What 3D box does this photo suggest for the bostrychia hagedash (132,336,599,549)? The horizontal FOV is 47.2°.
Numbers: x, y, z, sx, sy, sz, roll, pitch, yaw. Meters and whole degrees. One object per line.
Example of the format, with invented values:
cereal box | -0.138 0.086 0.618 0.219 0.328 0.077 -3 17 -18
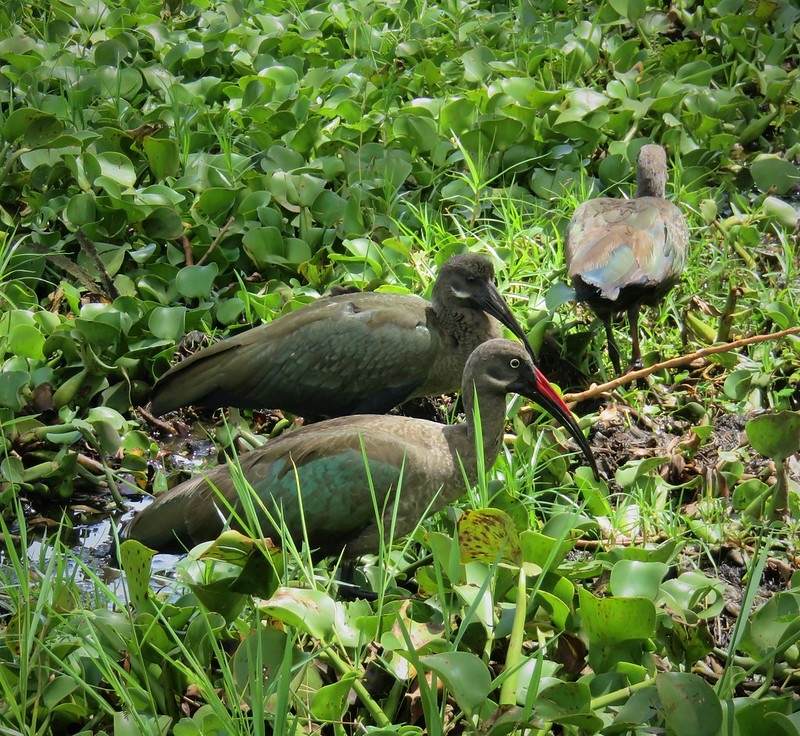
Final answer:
bostrychia hagedash | -0.161 0.364 3.594 1.737 0.957 0.480 3 24 -13
